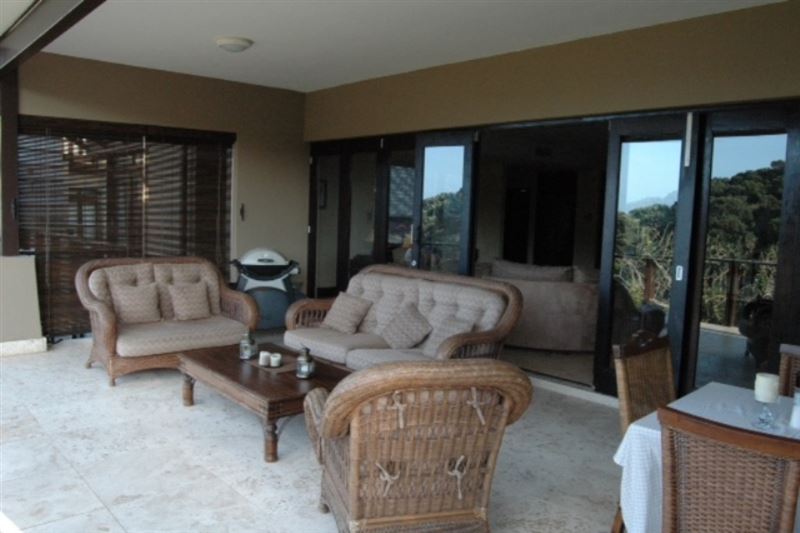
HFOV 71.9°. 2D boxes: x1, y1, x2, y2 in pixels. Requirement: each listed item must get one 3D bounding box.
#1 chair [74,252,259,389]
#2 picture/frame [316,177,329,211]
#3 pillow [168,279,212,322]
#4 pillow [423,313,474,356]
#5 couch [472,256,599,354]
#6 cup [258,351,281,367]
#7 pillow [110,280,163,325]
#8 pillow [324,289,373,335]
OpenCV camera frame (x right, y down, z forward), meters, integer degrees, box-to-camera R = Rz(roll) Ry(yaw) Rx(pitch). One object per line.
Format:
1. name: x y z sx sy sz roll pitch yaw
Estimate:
1. chair: -2.545 0.499 5.999 1.170 1.048 1.668 14 12 42
2. picture/frame: -1.211 -1.128 8.606 0.179 0.482 0.097 4 12 7
3. pillow: -2.347 0.383 6.086 0.398 0.395 0.143 -10 -11 -30
4. pillow: 0.439 0.637 5.021 0.445 0.329 0.265 2 12 -2
5. couch: 1.834 0.499 6.981 1.358 1.000 1.224 4 10 27
6. cup: -1.134 0.809 4.827 0.188 0.126 0.116 5 -1 6
7. pillow: -2.819 0.393 5.831 0.427 0.403 0.151 -6 -12 -32
8. pillow: -0.534 0.481 5.687 0.405 0.376 0.124 14 -27 37
